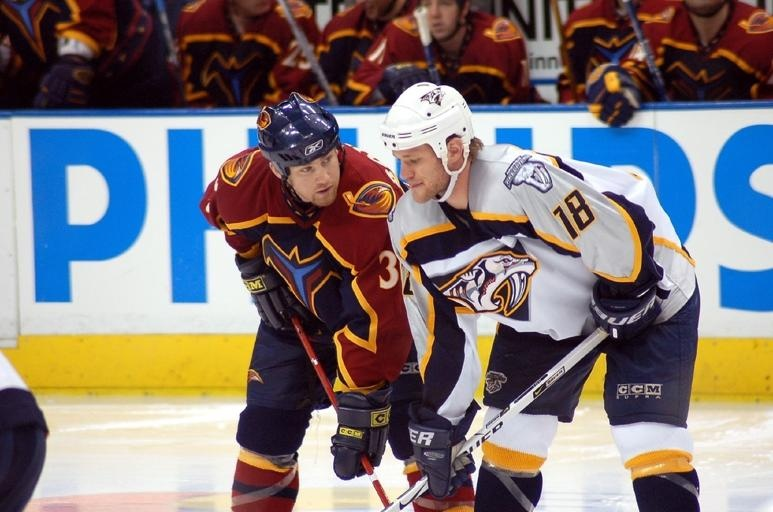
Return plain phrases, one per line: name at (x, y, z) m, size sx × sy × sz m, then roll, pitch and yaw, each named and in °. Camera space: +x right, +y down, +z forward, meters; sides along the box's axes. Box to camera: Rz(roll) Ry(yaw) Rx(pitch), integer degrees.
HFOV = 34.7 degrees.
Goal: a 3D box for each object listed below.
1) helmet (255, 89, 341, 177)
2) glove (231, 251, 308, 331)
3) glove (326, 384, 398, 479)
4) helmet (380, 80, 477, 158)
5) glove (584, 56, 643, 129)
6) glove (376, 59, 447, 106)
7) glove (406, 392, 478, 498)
helmet at (-0.413, -0.585, 5.713) m, size 0.316 × 0.369 × 0.357 m, roll -37°, pitch 29°, yaw -18°
glove at (-0.580, 0.146, 5.961) m, size 0.223 × 0.409 × 0.157 m, roll -35°, pitch -12°, yaw 36°
glove at (-0.070, 0.793, 5.910) m, size 0.342 × 0.606 × 0.422 m, roll 3°, pitch 0°, yaw 5°
helmet at (0.161, -0.581, 5.433) m, size 0.369 × 0.341 × 0.284 m, roll -19°, pitch 18°, yaw -26°
glove at (1.255, -0.914, 6.878) m, size 0.259 × 0.360 × 0.122 m, roll -16°, pitch -21°, yaw 42°
glove at (0.101, -1.051, 7.323) m, size 0.246 × 0.357 × 0.168 m, roll 10°, pitch 1°, yaw 35°
glove at (0.265, 0.839, 5.600) m, size 0.297 × 0.446 × 0.221 m, roll 6°, pitch 3°, yaw 26°
